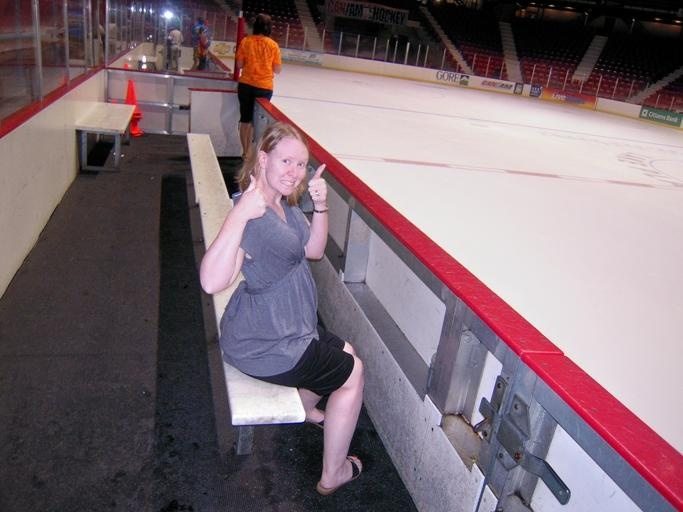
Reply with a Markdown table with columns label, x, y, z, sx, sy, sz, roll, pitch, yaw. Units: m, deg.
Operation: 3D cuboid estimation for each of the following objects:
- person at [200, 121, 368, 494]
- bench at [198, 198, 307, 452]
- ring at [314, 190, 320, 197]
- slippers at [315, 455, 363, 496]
| label | x | y | z | sx | sy | sz | roll | pitch | yaw |
| --- | --- | --- | --- | --- | --- | --- | --- | --- | --- |
| person | -0.298 | 0.276 | 2.147 | 0.798 | 1.687 | 0.573 | -9 | 12 | -32 |
| bench | -0.393 | 0.369 | 2.103 | 0.260 | 0.361 | 1.422 | -4 | 40 | -15 |
| ring | -0.120 | -0.310 | 2.240 | 0.021 | 0.022 | 0.006 | 1 | 21 | -6 |
| slippers | 0.005 | 1.091 | 2.258 | 0.110 | 0.056 | 0.223 | 21 | 34 | 34 |
